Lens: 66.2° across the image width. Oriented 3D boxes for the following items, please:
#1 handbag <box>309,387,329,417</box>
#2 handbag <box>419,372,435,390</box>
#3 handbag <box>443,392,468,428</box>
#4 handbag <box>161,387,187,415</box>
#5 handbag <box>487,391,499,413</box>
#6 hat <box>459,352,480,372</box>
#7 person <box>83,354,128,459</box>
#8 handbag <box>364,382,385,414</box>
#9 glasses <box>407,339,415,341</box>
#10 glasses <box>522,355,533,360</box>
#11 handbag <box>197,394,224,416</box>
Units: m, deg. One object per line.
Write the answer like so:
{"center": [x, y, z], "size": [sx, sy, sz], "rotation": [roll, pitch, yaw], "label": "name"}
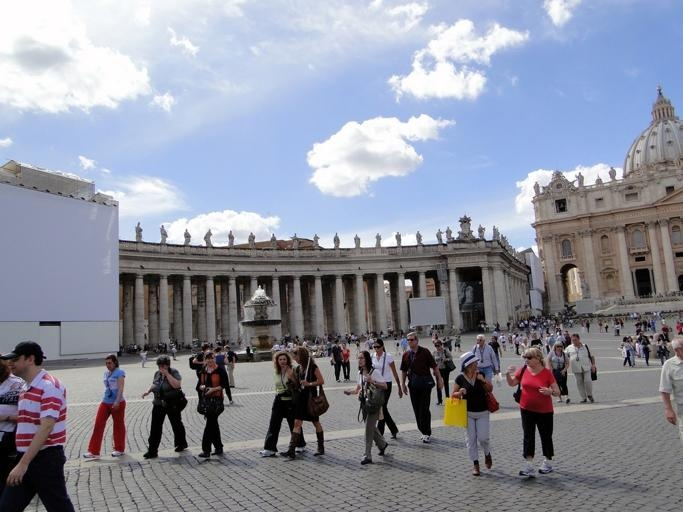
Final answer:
{"center": [-0.391, 2.724, 9.829], "size": [0.263, 0.503, 0.517], "rotation": [-7, -8, 18], "label": "handbag"}
{"center": [1.714, 2.546, 10.593], "size": [0.387, 0.337, 0.167], "rotation": [-1, -8, -25], "label": "handbag"}
{"center": [1.861, 2.548, 8.569], "size": [0.370, 0.509, 0.329], "rotation": [-8, -8, 22], "label": "handbag"}
{"center": [-3.196, 2.732, 10.138], "size": [0.457, 0.457, 0.442], "rotation": [-10, 14, -16], "label": "handbag"}
{"center": [2.505, 2.447, 8.742], "size": [0.156, 0.360, 0.418], "rotation": [-7, -7, 15], "label": "handbag"}
{"center": [2.136, 1.798, 8.898], "size": [0.249, 0.294, 0.745], "rotation": [-6, -7, 10], "label": "hat"}
{"center": [-4.658, 2.959, 10.389], "size": [0.734, 1.983, 1.271], "rotation": [-1, -8, -25], "label": "person"}
{"center": [0.610, 2.569, 9.501], "size": [0.395, 0.476, 0.241], "rotation": [-4, -7, -5], "label": "handbag"}
{"center": [1.449, 1.742, 10.793], "size": [0.169, 0.069, 0.084], "rotation": [-1, -8, -28], "label": "glasses"}
{"center": [2.986, 1.657, 8.473], "size": [0.075, 0.080, 0.211], "rotation": [-5, -7, -1], "label": "glasses"}
{"center": [-2.506, 2.872, 10.059], "size": [0.468, 0.409, 0.268], "rotation": [-2, -8, -20], "label": "handbag"}
